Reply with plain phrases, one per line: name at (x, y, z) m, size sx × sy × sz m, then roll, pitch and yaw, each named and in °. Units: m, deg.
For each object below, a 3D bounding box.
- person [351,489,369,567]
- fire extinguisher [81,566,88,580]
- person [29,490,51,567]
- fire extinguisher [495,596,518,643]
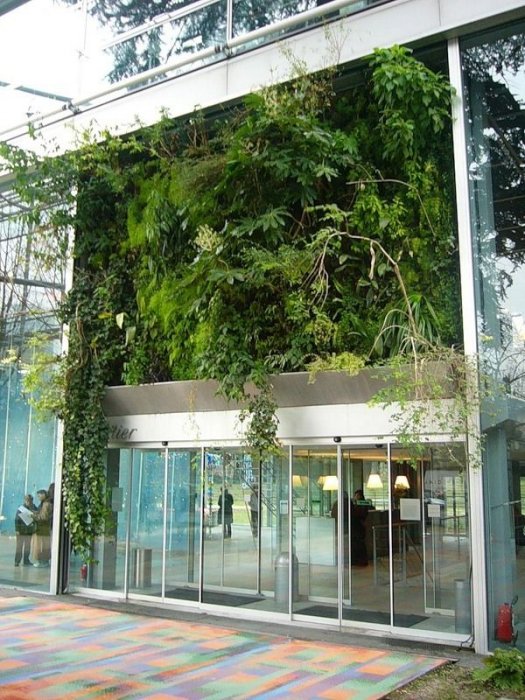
person at (1.141, 2.101, 7.109) m, size 0.081 × 0.873 × 0.280 m, roll 7°, pitch -14°, yaw -36°
fire extinguisher at (-2.895, 3.615, 9.770) m, size 0.113 × 0.237 × 0.033 m, roll -4°, pitch -11°, yaw 14°
person at (-3.670, 2.957, 9.996) m, size 0.420 × 1.219 × 0.117 m, roll -9°, pitch -13°, yaw 34°
fire extinguisher at (2.358, 2.611, 5.805) m, size 0.229 × 0.415 × 0.100 m, roll -5°, pitch -12°, yaw 19°
